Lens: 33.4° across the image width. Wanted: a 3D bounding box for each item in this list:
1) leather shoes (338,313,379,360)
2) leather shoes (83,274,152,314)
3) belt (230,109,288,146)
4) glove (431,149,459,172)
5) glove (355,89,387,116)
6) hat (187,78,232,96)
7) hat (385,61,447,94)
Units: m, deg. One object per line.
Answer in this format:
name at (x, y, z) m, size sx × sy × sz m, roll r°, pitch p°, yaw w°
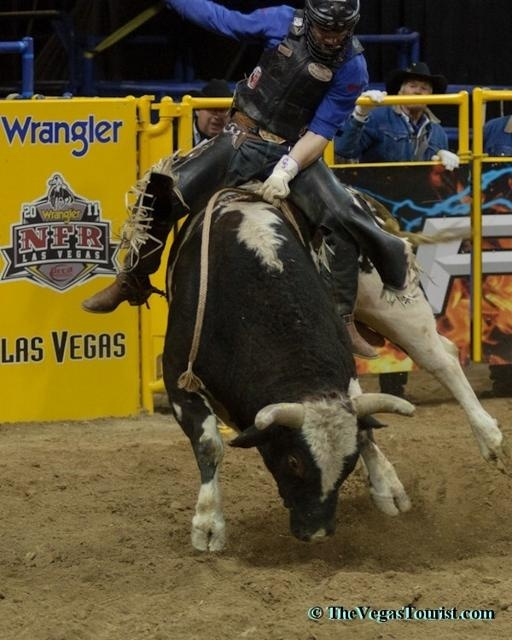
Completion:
leather shoes at (0.606, 0.127, 5.191) m, size 0.166 × 0.154 × 0.406 m, roll -10°, pitch 12°, yaw -14°
leather shoes at (-0.770, -0.176, 4.870) m, size 0.522 × 0.241 × 0.155 m, roll -5°, pitch 57°, yaw -14°
belt at (-0.012, -1.010, 4.554) m, size 0.255 × 0.080 × 0.222 m, roll 29°, pitch 3°, yaw -25°
glove at (1.588, -1.333, 7.256) m, size 0.194 × 0.090 × 0.226 m, roll 17°, pitch 8°, yaw -10°
glove at (0.818, -1.611, 6.342) m, size 0.250 × 0.075 × 0.294 m, roll -12°, pitch 3°, yaw -28°
hat at (-0.362, -2.037, 7.527) m, size 0.363 × 0.120 × 0.362 m, roll -1°, pitch 8°, yaw 1°
hat at (1.439, -2.267, 7.943) m, size 0.442 × 0.140 × 0.420 m, roll 3°, pitch -14°, yaw 3°
